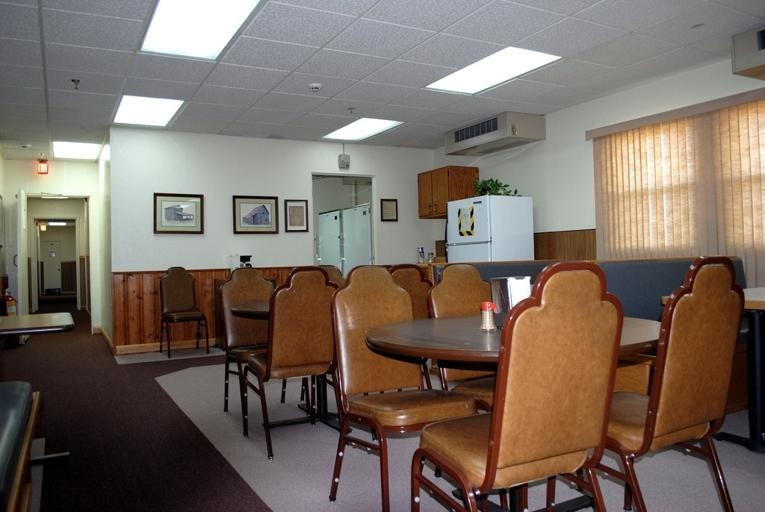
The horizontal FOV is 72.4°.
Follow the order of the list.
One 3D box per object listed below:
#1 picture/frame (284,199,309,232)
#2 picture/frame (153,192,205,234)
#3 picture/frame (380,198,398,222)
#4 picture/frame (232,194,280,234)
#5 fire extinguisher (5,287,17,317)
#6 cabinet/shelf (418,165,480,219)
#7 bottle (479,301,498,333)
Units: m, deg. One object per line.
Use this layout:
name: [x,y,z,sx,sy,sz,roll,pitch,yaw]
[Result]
picture/frame: [-1.490,-0.695,8.919,0.589,0.695,0.048,-1,0,-32]
picture/frame: [-3.206,-0.674,8.128,0.679,0.599,0.063,-2,7,-26]
picture/frame: [0.100,-0.846,9.617,0.461,0.481,0.036,0,-4,-35]
picture/frame: [-2.127,-0.694,8.615,0.705,0.551,0.050,1,-4,-29]
fire extinguisher: [-5.884,0.718,8.275,0.153,0.407,0.550,-5,3,-36]
cabinet/shelf: [1.181,-1.156,9.531,0.834,1.028,1.419,0,-1,-27]
bottle: [0.639,0.362,3.175,0.092,0.164,0.177,-3,2,11]
